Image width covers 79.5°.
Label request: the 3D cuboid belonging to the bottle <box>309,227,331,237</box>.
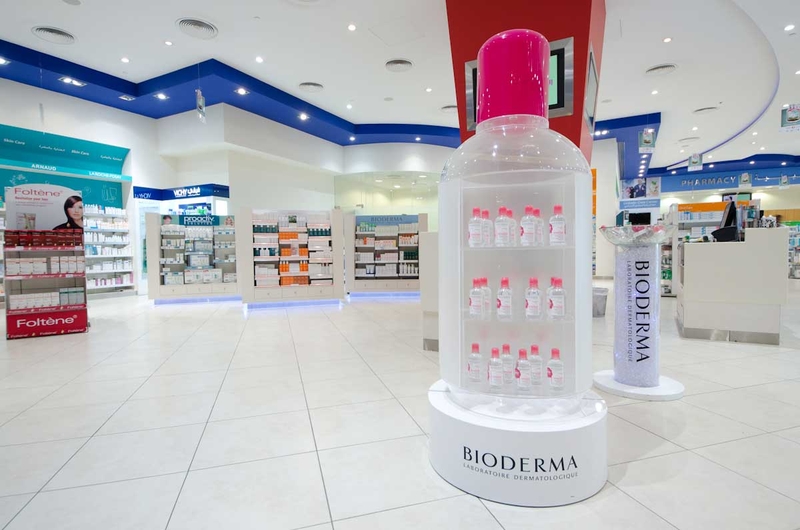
[{"bbox_3d":[-1.841,-0.717,10.923,0.515,0.199,0.085,0,5,7],"label":"bottle"}]

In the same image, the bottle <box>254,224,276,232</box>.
[{"bbox_3d":[-2.995,-0.788,10.680,0.502,0.162,0.075,-2,5,-10],"label":"bottle"}]

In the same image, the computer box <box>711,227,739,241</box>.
[{"bbox_3d":[4.765,-0.427,6.979,0.198,0.163,0.221,-2,-4,35],"label":"computer box"}]

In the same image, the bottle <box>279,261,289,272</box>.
[{"bbox_3d":[-2.600,0.056,10.719,0.226,0.267,0.086,1,2,8],"label":"bottle"}]

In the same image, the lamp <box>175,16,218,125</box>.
[{"bbox_3d":[-3.930,-3.696,9.521,0.715,1.812,1.317,-2,5,-15],"label":"lamp"}]

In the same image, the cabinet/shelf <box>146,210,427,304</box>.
[{"bbox_3d":[-2.613,-0.198,11.506,6.273,2.150,2.098,-2,5,-14],"label":"cabinet/shelf"}]
